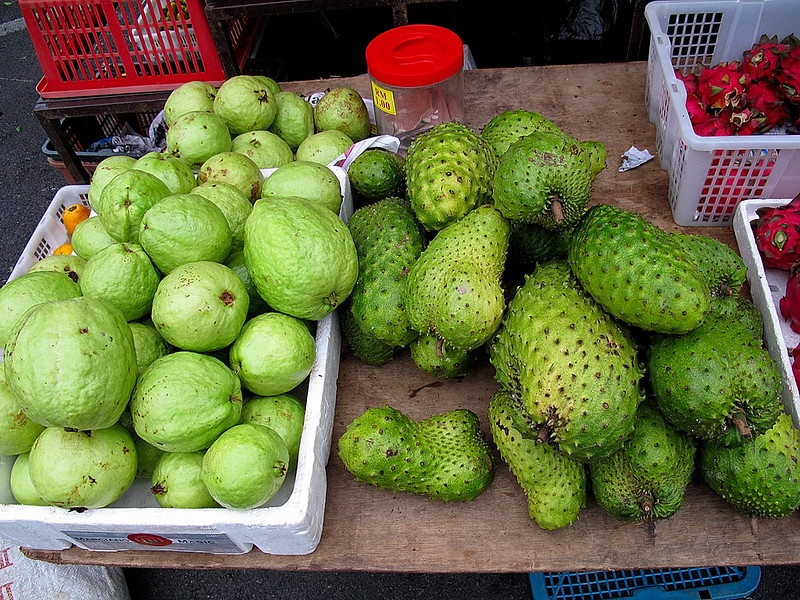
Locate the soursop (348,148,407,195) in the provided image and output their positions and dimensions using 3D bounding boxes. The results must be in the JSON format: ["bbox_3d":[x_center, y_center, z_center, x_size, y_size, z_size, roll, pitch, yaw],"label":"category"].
[{"bbox_3d":[-0.094,-0.542,2.863,0.206,0.188,0.178,2,12,-5],"label":"soursop"}]

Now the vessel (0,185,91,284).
[{"bbox_3d":[-1.568,-0.290,3.126,0.324,0.179,0.518,4,70,34],"label":"vessel"}]

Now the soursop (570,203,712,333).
[{"bbox_3d":[0.794,-0.096,2.327,0.325,0.301,0.475,-20,46,-39],"label":"soursop"}]

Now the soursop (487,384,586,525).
[{"bbox_3d":[0.478,0.573,2.381,0.199,0.281,0.475,-25,84,-53],"label":"soursop"}]

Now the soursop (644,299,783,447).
[{"bbox_3d":[1.022,0.267,2.217,0.333,0.300,0.455,-13,27,26],"label":"soursop"}]

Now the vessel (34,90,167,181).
[{"bbox_3d":[-1.779,-1.100,4.298,0.709,0.462,0.608,-5,60,-4],"label":"vessel"}]

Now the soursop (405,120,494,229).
[{"bbox_3d":[0.192,-0.475,2.675,0.370,0.328,0.511,-5,20,8],"label":"soursop"}]

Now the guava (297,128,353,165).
[{"bbox_3d":[-0.339,-0.715,3.136,0.213,0.126,0.214,-17,29,19],"label":"guava"}]

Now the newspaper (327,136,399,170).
[{"bbox_3d":[-0.168,-0.677,3.125,0.271,0.135,0.163,-31,41,-8],"label":"newspaper"}]

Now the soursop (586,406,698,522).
[{"bbox_3d":[0.837,0.563,2.391,0.325,0.266,0.420,-21,45,23],"label":"soursop"}]

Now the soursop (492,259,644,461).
[{"bbox_3d":[0.549,0.214,2.376,0.423,0.378,0.600,-13,72,-1],"label":"soursop"}]

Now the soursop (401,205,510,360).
[{"bbox_3d":[0.248,-0.058,2.526,0.330,0.293,0.511,18,79,21],"label":"soursop"}]

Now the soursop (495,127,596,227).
[{"bbox_3d":[0.509,-0.414,2.442,0.333,0.295,0.297,12,53,14],"label":"soursop"}]

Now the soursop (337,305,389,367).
[{"bbox_3d":[-0.144,0.170,2.704,0.235,0.187,0.146,42,103,13],"label":"soursop"}]

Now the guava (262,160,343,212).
[{"bbox_3d":[-0.374,-0.478,2.749,0.253,0.206,0.202,-5,41,20],"label":"guava"}]

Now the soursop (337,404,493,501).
[{"bbox_3d":[0.059,0.544,2.391,0.483,0.257,0.322,5,43,2],"label":"soursop"}]
